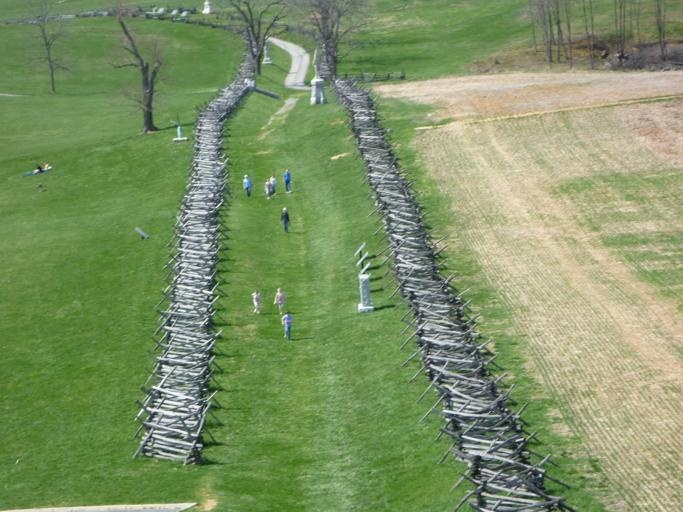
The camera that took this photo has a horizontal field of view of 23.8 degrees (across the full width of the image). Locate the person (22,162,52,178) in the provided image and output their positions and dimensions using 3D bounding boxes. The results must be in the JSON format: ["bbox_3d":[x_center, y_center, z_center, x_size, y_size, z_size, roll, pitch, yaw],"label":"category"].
[{"bbox_3d":[-29.522,-8.626,163.093,3.962,1.131,0.942,-2,-13,14],"label":"person"}]
